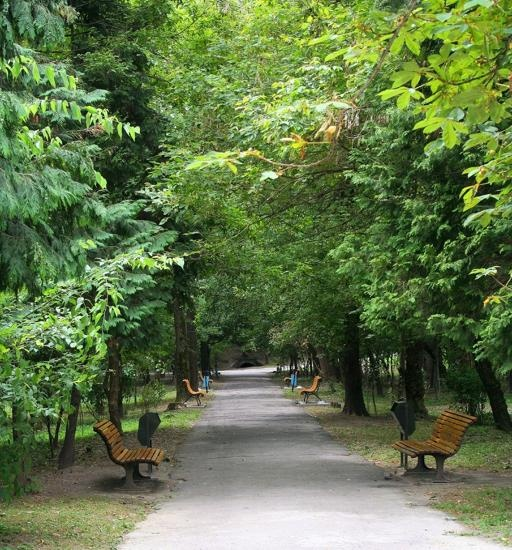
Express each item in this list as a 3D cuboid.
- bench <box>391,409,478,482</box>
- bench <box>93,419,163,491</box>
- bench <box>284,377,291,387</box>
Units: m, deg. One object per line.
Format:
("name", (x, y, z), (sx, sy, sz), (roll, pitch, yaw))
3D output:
("bench", (2.919, 2.823, 11.092), (1.113, 0.985, 1.807), (-1, -8, 2))
("bench", (-2.140, 2.899, 10.928), (1.256, 1.030, 1.352), (-3, -3, -1))
("bench", (2.167, 7.288, 45.539), (0.752, 0.298, 0.899), (-1, -34, -2))
